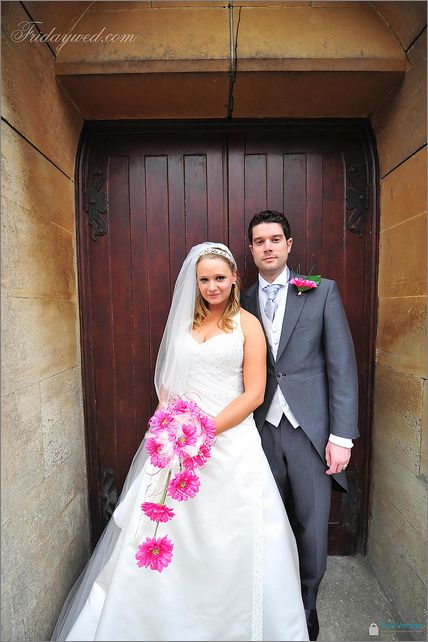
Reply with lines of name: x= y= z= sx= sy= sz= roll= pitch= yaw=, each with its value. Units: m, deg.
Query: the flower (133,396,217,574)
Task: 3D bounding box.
flower: x=-0.153 y=0.574 z=1.885 sx=0.254 sy=0.801 sz=0.263 roll=11 pitch=-20 yaw=3
